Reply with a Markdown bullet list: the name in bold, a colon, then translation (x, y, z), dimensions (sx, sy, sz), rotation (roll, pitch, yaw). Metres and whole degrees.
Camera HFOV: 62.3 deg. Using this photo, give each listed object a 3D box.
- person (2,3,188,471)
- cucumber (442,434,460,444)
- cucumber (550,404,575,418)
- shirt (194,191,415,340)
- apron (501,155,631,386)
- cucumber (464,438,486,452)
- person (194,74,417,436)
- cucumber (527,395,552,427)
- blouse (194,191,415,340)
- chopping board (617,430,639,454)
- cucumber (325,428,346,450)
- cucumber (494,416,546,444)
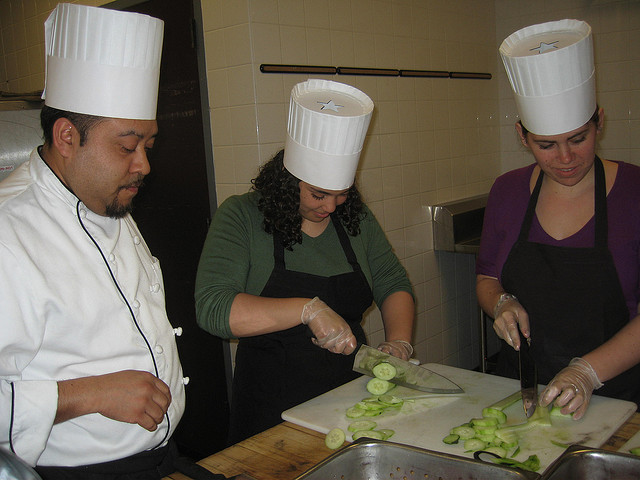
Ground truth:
- **person**: translation (-0.704, 0.002, 1.666), dimensions (0.503, 1.439, 0.514), rotation (-4, 10, -17)
- **cucumber**: translation (0.434, 0.643, 1.735), dimensions (0.063, 0.011, 0.038), rotation (-9, 14, -30)
- **cucumber**: translation (0.829, 0.574, 1.800), dimensions (0.044, 0.051, 0.013), rotation (-1, -13, 19)
- **shirt**: translation (-0.049, 0.119, 2.321), dimensions (1.052, 0.718, 0.576), rotation (0, 6, -28)
- **apron**: translation (1.010, 0.120, 2.189), dimensions (0.485, 0.899, 0.254), rotation (3, 11, 22)
- **cucumber**: translation (0.498, 0.644, 1.691), dimensions (0.064, 0.011, 0.070), rotation (5, 14, 26)
- **person**: translation (-0.027, 0.059, 2.140), dimensions (0.926, 1.386, 0.490), rotation (-6, 11, -24)
- **cucumber**: translation (0.751, 0.572, 1.793), dimensions (0.041, 0.012, 0.098), rotation (-1, 28, 35)
- **blouse**: translation (-0.041, 0.117, 2.291), dimensions (1.043, 0.703, 0.612), rotation (-1, 3, -30)
- **chopping board**: translation (0.958, 0.621, 1.630), dimensions (0.035, 0.004, 0.103), rotation (3, 29, 44)
- **cucumber**: translation (0.054, 0.647, 1.734), dimensions (0.068, 0.044, 0.074), rotation (-1, 12, 2)
- **cucumber**: translation (0.653, 0.621, 1.761), dimensions (0.183, 0.027, 0.057), rotation (-22, 30, -27)
